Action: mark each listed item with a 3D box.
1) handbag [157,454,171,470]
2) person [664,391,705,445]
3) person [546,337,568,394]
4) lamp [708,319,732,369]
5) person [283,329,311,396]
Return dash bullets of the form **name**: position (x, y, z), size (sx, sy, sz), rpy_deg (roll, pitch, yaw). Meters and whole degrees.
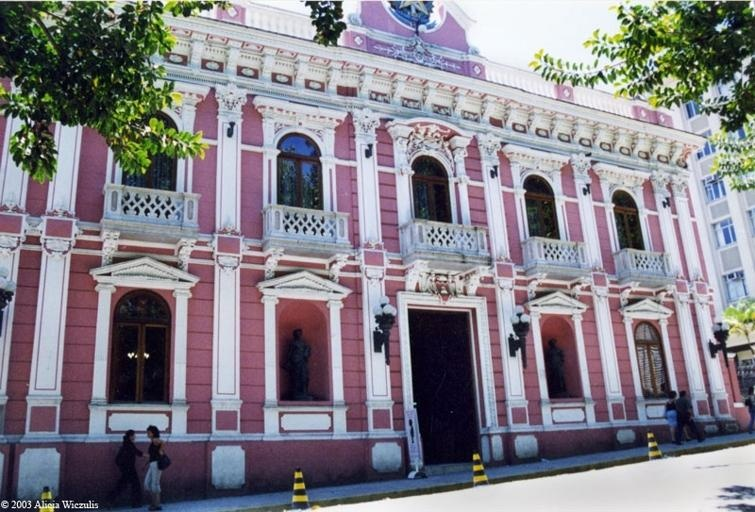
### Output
- **handbag**: position (-5.325, 5.112, 15.269), size (0.279, 0.379, 0.249), rpy_deg (2, -19, -16)
- **person**: position (10.833, 5.791, 21.998), size (0.821, 1.828, 0.852), rpy_deg (-11, -19, 21)
- **person**: position (6.521, 4.090, 22.393), size (0.623, 2.110, 0.821), rpy_deg (-13, -20, 26)
- **lamp**: position (13.931, 3.448, 24.893), size (0.771, 1.493, 1.104), rpy_deg (-20, -24, 41)
- **person**: position (-2.488, 3.341, 18.840), size (0.799, 2.128, 0.467), rpy_deg (-1, -18, -8)
